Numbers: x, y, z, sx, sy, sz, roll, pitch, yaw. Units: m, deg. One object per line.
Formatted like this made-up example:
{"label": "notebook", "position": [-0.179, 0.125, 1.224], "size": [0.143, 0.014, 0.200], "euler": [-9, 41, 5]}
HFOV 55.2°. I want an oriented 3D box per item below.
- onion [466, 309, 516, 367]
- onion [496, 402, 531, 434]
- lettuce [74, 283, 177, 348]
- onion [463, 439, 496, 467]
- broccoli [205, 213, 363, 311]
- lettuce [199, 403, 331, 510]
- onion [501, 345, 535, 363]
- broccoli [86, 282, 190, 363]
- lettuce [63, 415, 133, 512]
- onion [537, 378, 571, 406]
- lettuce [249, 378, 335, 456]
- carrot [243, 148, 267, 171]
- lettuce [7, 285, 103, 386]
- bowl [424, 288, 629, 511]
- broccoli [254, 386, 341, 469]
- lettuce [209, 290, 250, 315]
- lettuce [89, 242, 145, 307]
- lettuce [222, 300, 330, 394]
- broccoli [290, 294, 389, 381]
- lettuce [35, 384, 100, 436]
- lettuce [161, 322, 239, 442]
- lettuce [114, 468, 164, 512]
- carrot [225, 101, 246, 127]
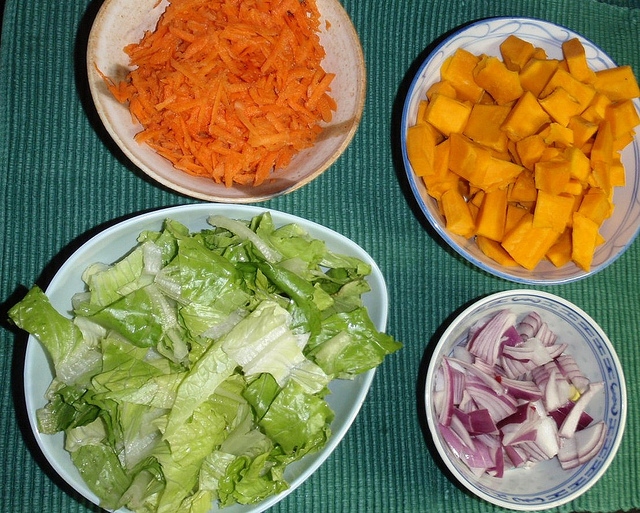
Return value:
{"label": "onion", "position": [0.445, 0.206, 1.595], "size": [0.095, 0.051, 0.155], "euler": [23, 106, 13]}
{"label": "onion", "position": [0.504, 0.409, 1.560], "size": [0.100, 0.043, 0.043], "euler": [-33, 81, -10]}
{"label": "lettuce", "position": [-0.424, 0.110, 1.388], "size": [0.202, 0.051, 0.136], "euler": [28, 77, 2]}
{"label": "onion", "position": [0.404, 0.496, 1.548], "size": [0.064, 0.017, 0.064], "euler": [-2, 51, -26]}
{"label": "broccoli", "position": [-0.092, 0.047, 1.521], "size": [0.326, 0.084, 0.221], "euler": [35, 59, -16]}
{"label": "lettuce", "position": [-0.157, 0.474, 1.395], "size": [0.252, 0.099, 0.257], "euler": [21, 88, -16]}
{"label": "onion", "position": [0.524, 0.243, 1.597], "size": [0.043, 0.058, 0.032], "euler": [15, 90, -1]}
{"label": "broccoli", "position": [-0.406, 0.160, 1.426], "size": [0.239, 0.194, 0.071], "euler": [42, 108, -9]}
{"label": "lettuce", "position": [-0.500, 0.469, 1.419], "size": [0.133, 0.057, 0.218], "euler": [-30, 84, -18]}
{"label": "onion", "position": [0.609, 0.337, 1.578], "size": [0.059, 0.024, 0.073], "euler": [4, 92, 4]}
{"label": "lettuce", "position": [-0.057, 0.368, 1.403], "size": [0.172, 0.060, 0.171], "euler": [42, 85, -10]}
{"label": "carrot", "position": [-0.160, -0.244, 1.542], "size": [0.071, 0.037, 0.019], "euler": [-47, 44, 18]}
{"label": "lettuce", "position": [-0.603, 0.198, 1.459], "size": [0.270, 0.081, 0.159], "euler": [39, 66, -10]}
{"label": "bowl", "position": [0.517, 0.333, 1.580], "size": [0.515, 0.223, 0.574], "euler": [17, 77, 0]}
{"label": "broccoli", "position": [-0.057, 0.370, 1.458], "size": [0.189, 0.058, 0.188], "euler": [-42, 106, -5]}
{"label": "lettuce", "position": [-0.199, 0.100, 1.398], "size": [0.072, 0.022, 0.047], "euler": [-43, 113, -9]}
{"label": "lettuce", "position": [-0.469, 0.049, 1.411], "size": [0.157, 0.050, 0.108], "euler": [-23, 104, -28]}
{"label": "lettuce", "position": [-0.098, 0.205, 1.404], "size": [0.178, 0.075, 0.256], "euler": [-37, 112, 0]}
{"label": "broccoli", "position": [0.041, 0.194, 1.471], "size": [0.271, 0.075, 0.257], "euler": [-13, 37, 1]}
{"label": "lettuce", "position": [-0.576, 0.344, 1.405], "size": [0.128, 0.044, 0.094], "euler": [-14, 79, -7]}
{"label": "lettuce", "position": [-0.263, 0.275, 1.402], "size": [0.208, 0.067, 0.214], "euler": [28, 85, 2]}
{"label": "lettuce", "position": [-0.398, 0.515, 1.351], "size": [0.082, 0.047, 0.114], "euler": [19, 57, 3]}
{"label": "carrot", "position": [-0.217, -0.351, 1.528], "size": [0.049, 0.016, 0.054], "euler": [12, 97, -2]}
